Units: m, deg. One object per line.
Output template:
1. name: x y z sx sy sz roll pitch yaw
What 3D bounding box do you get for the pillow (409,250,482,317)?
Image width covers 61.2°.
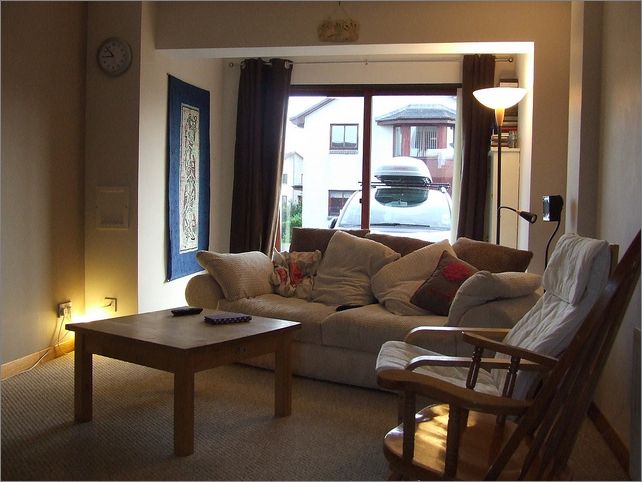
1. pillow: 0.914 0.371 3.969 0.126 0.431 0.435 23 19 -30

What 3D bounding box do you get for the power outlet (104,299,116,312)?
1. power outlet: -1.869 0.571 4.803 0.095 0.113 0.014 1 1 10

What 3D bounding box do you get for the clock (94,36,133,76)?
1. clock: -1.810 -1.616 4.710 0.276 0.333 0.299 3 8 3

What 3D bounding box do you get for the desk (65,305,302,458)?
1. desk: -0.872 0.815 3.348 1.362 0.607 0.794 3 10 12

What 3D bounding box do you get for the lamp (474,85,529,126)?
1. lamp: 1.661 -1.240 4.964 0.413 0.372 0.661 5 10 26
